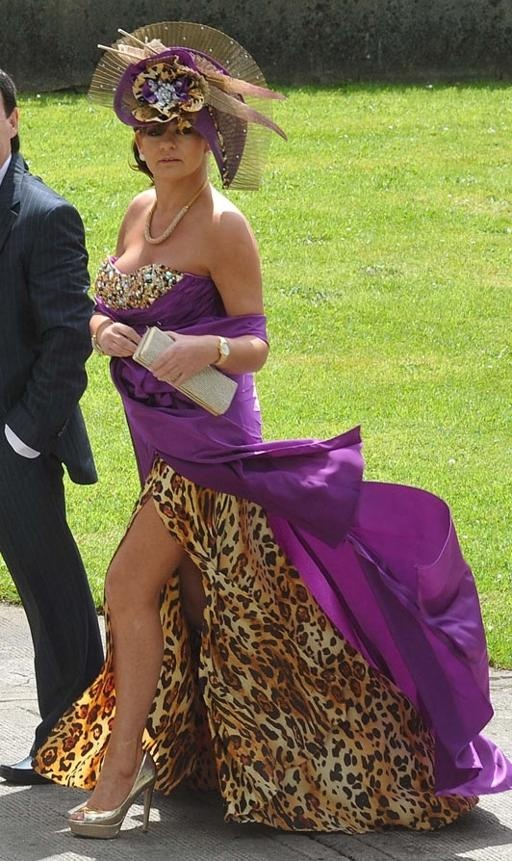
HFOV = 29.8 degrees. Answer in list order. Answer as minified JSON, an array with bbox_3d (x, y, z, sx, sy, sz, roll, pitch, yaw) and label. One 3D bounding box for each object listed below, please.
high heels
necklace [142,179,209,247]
[{"bbox_3d":[-0.335,0.886,2.325,0.247,0.174,0.098,-5,11,-44],"label":"high heels"},{"bbox_3d":[-0.210,-0.540,2.388,0.164,0.164,0.136,4,8,15],"label":"necklace"}]
